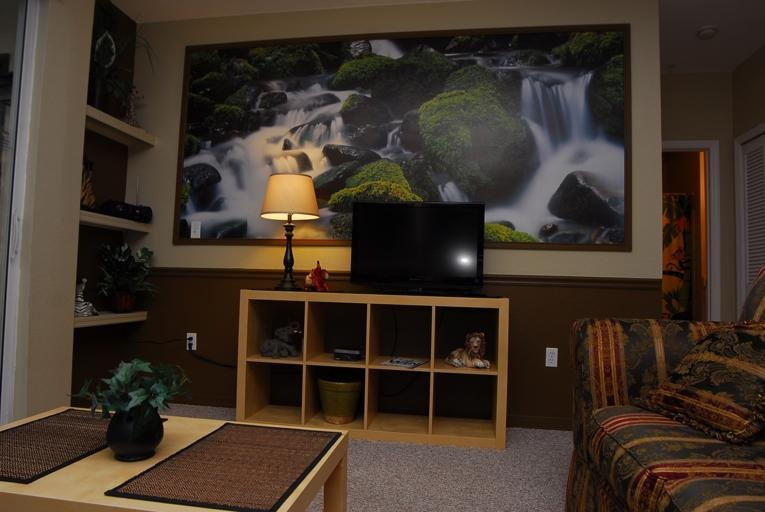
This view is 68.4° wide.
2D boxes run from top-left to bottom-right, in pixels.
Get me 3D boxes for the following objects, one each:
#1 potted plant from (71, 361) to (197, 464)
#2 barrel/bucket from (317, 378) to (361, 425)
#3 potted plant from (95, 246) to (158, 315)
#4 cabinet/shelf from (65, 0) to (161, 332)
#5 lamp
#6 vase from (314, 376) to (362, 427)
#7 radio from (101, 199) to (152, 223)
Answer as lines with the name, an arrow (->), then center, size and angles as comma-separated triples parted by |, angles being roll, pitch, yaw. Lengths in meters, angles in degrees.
potted plant -> -1.186, 0.676, 2.714 | 0.524, 0.455, 0.485 | 2, -8, -18
barrel/bucket -> -0.292, 1.000, 3.964 | 0.293, 0.252, 0.303 | 2, -5, 0
potted plant -> -2.022, 0.169, 4.430 | 0.398, 0.542, 0.299 | 3, -4, -28
cabinet/shelf -> -2.073, -0.720, 4.316 | 0.364, 2.567, 0.696 | 0, -4, 19
lamp -> -0.687, -0.197, 4.185 | 0.422, 0.889, 0.398 | 2, -4, -7
vase -> -0.306, 1.010, 3.930 | 0.297, 0.253, 0.307 | 1, -5, -3
radio -> -1.979, -0.335, 4.363 | 0.172, 0.100, 0.246 | 4, -1, 43
